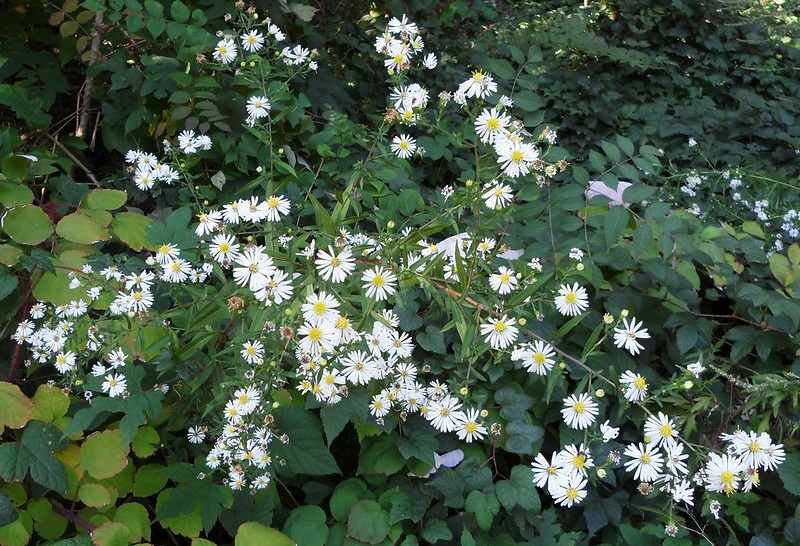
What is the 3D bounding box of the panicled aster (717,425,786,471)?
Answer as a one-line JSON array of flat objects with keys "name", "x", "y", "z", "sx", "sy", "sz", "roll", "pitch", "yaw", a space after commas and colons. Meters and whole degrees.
[{"name": "panicled aster", "x": 1.397, "y": 0.688, "z": 2.413, "sx": 0.255, "sy": 0.148, "sz": 0.149, "roll": 3, "pitch": 13, "yaw": -22}]
